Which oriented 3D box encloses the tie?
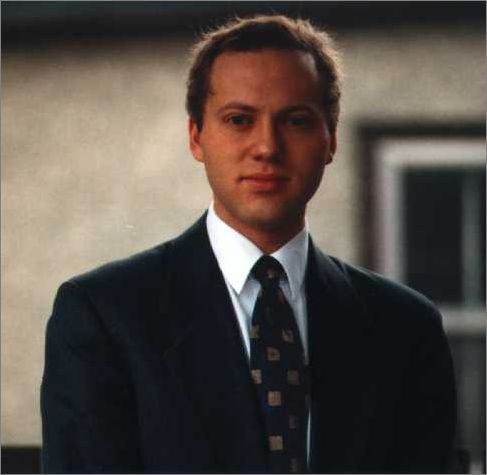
[{"bbox_3d":[0.097,0.357,3.569,0.148,0.623,0.151,0,-6,0],"label":"tie"}]
